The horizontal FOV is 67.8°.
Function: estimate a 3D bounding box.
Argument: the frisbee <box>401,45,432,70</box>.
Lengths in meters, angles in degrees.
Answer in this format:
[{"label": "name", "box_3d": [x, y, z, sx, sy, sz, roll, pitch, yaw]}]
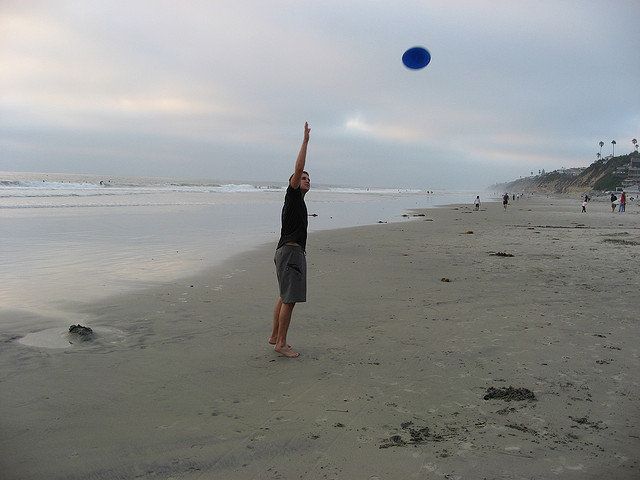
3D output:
[{"label": "frisbee", "box_3d": [1.508, -2.848, 7.494, 0.437, 0.329, 0.123, 6, 14, 31]}]
